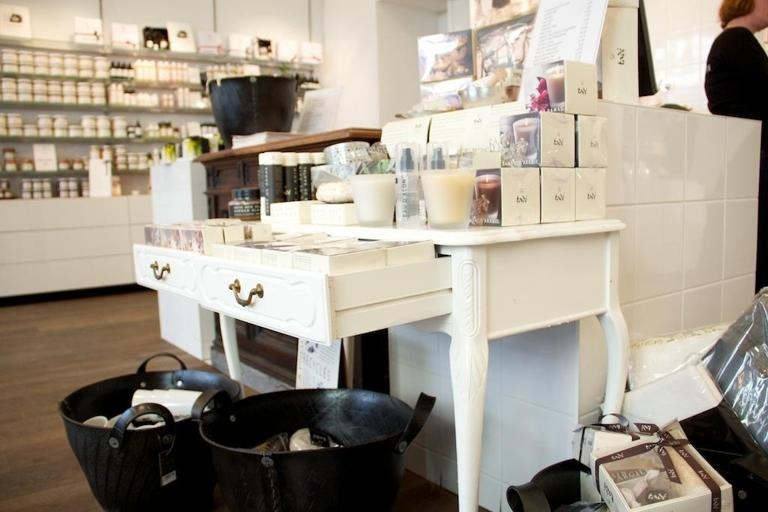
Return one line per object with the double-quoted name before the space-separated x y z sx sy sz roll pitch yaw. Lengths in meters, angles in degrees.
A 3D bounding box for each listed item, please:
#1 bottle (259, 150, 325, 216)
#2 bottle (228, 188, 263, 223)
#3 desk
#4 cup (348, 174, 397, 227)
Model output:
"bottle" -0.336 -0.255 1.878 0.256 0.233 0.114 -2 13 -1
"bottle" -0.519 -0.197 2.031 0.126 0.114 0.129 2 7 8
"desk" 0.004 0.257 1.490 1.333 0.682 0.619 2 13 17
"cup" -0.033 -0.159 1.502 0.138 0.125 0.144 0 7 0
